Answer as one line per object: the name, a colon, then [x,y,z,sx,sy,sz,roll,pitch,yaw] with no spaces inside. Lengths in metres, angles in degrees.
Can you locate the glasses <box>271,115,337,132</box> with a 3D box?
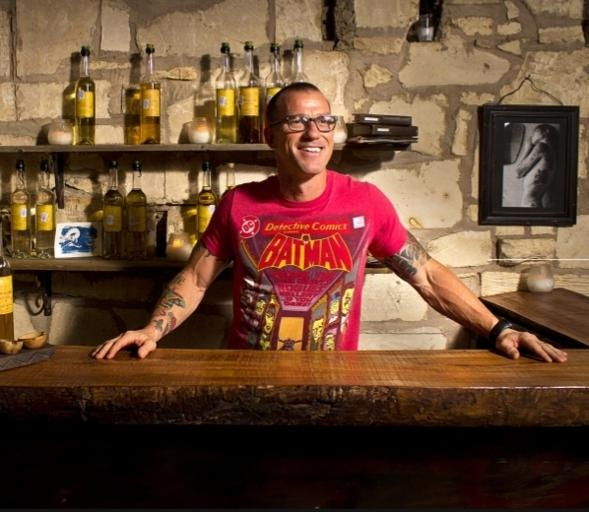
glasses: [0.029,-0.451,2.062,0.227,0.066,0.076,2,5,5]

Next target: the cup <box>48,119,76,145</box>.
cup: [-1.034,-0.531,2.603,0.139,0.096,0.122,1,2,20]

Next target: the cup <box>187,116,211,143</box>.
cup: [-0.400,-0.531,2.530,0.127,0.090,0.112,0,-2,-7]

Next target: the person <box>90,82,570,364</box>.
person: [0.074,-0.184,2.419,1.767,0.892,0.388,0,-3,2]

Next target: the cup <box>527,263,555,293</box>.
cup: [1.117,0.104,2.783,0.157,0.109,0.125,1,1,5]
